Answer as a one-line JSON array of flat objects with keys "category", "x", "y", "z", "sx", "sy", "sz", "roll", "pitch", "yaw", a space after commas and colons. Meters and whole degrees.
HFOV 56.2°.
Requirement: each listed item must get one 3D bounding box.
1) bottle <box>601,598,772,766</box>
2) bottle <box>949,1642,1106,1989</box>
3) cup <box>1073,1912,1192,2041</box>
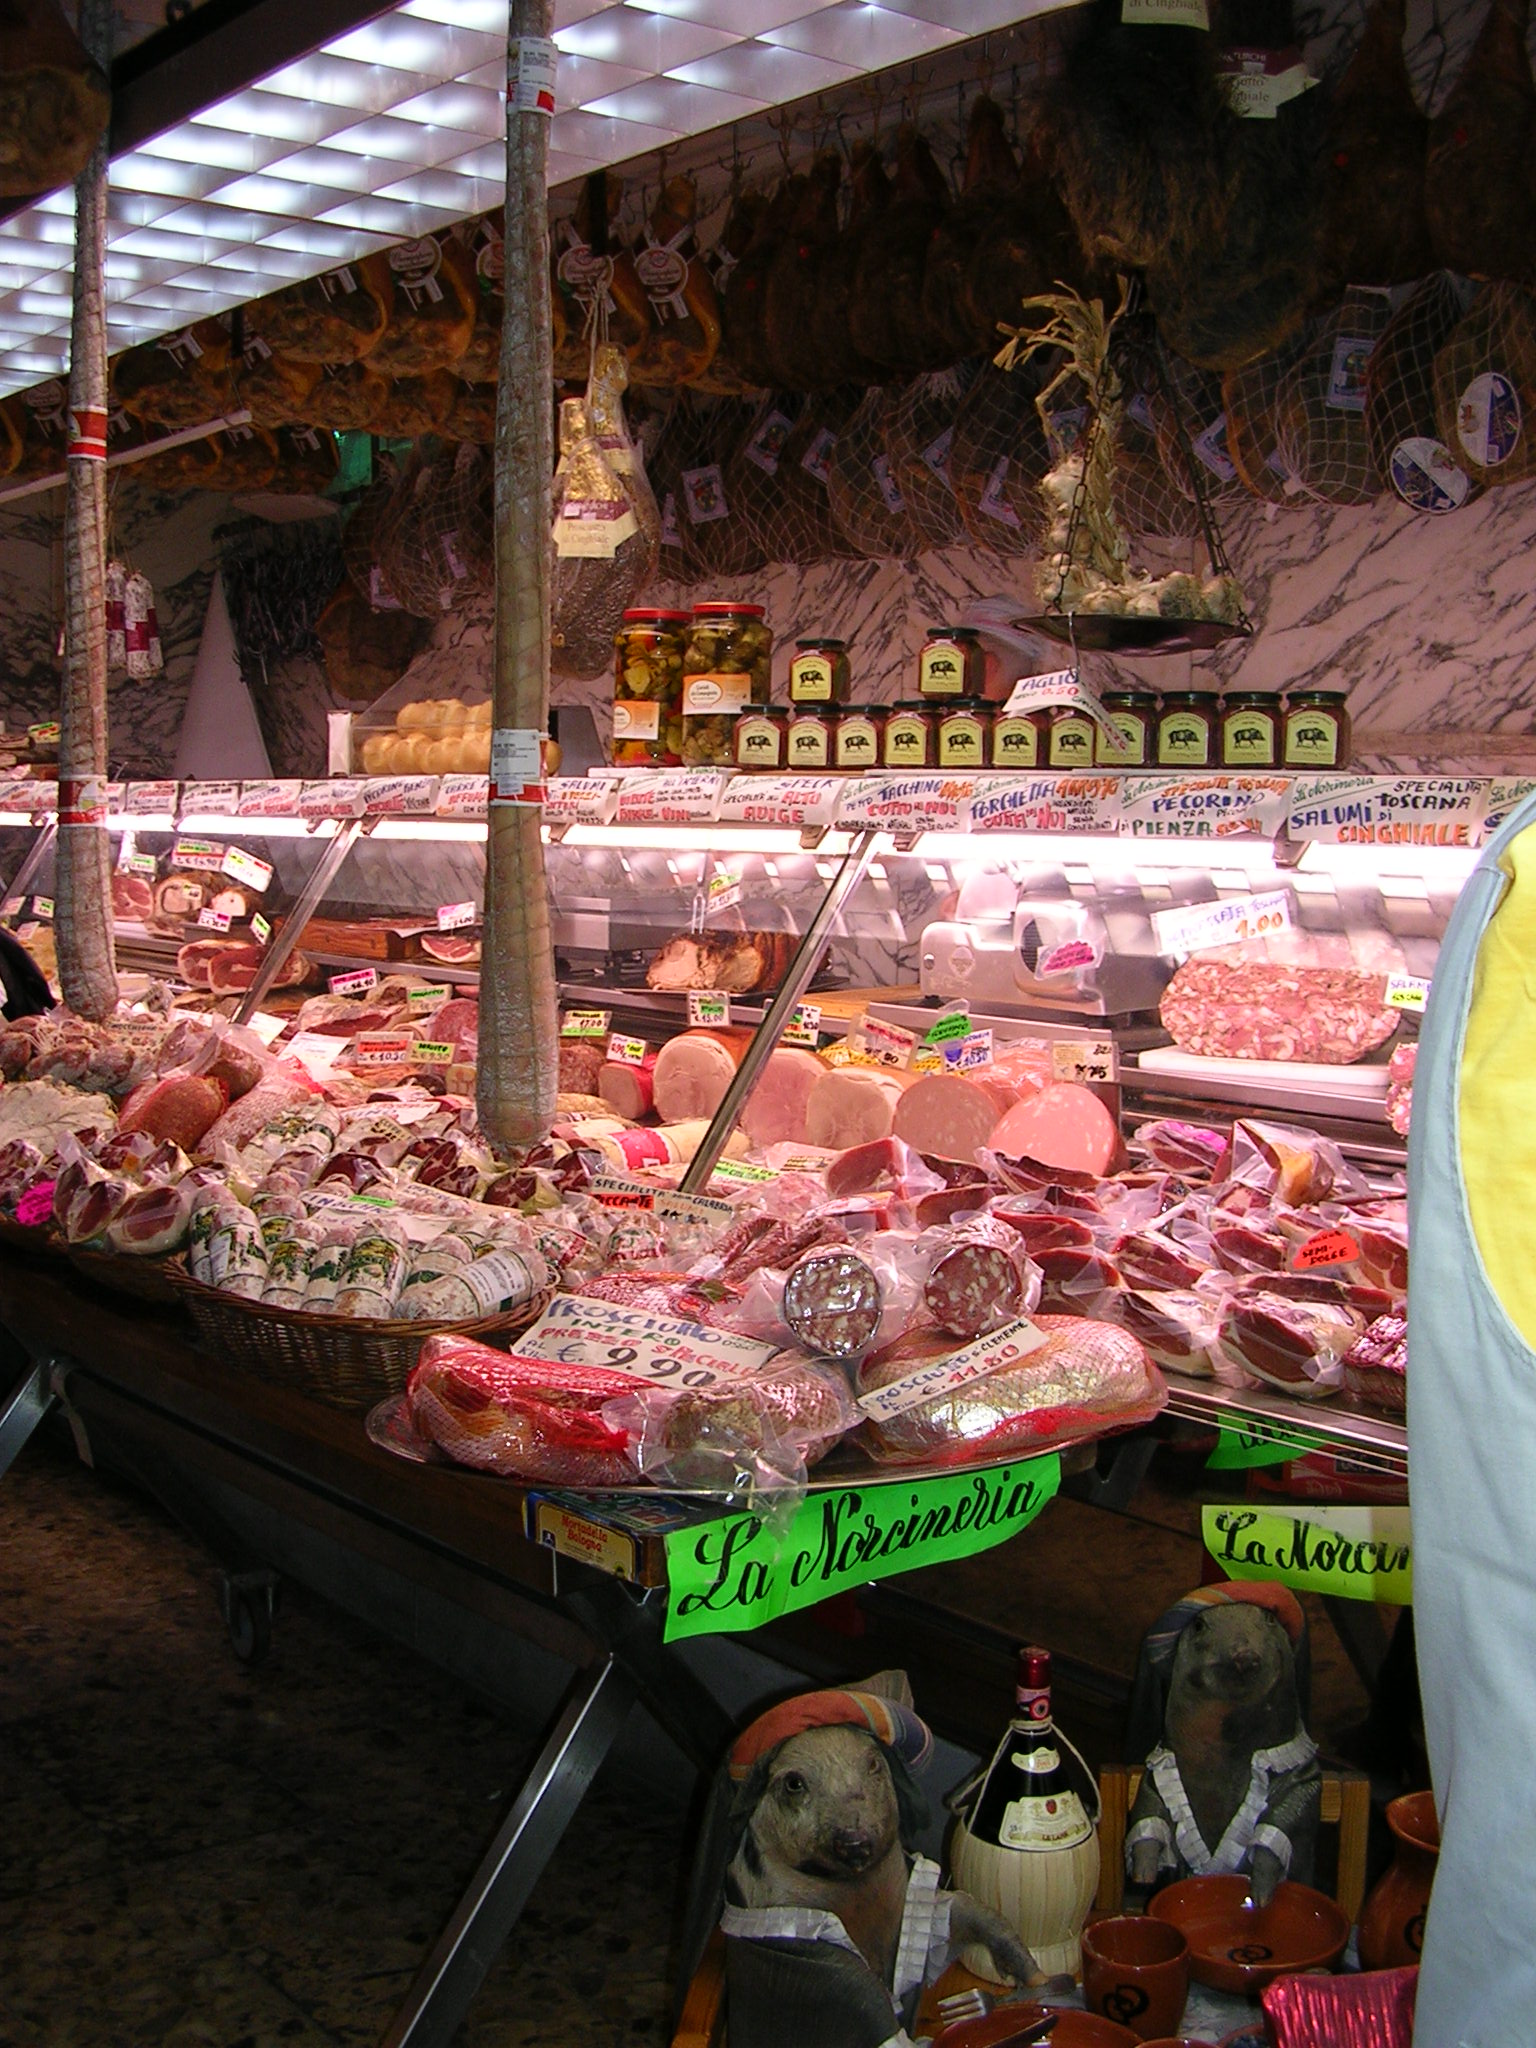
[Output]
[{"category": "bottle", "x": -0.148, "y": -0.606, "z": 2.580, "sx": 0.389, "sy": 0.347, "sz": 0.212, "roll": 8, "pitch": 12, "yaw": 31}, {"category": "bottle", "x": 0.214, "y": 0.650, "z": 1.181, "sx": 0.135, "sy": 0.233, "sz": 0.119, "roll": 3, "pitch": -12, "yaw": -1}, {"category": "cup", "x": 0.279, "y": 0.735, "z": 1.116, "sx": 0.072, "sy": 0.074, "sz": 0.072, "roll": -1, "pitch": -15, "yaw": 0}]
